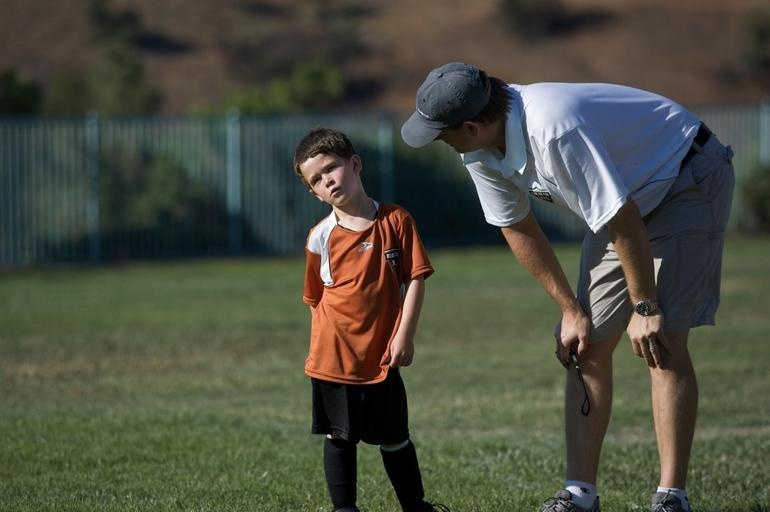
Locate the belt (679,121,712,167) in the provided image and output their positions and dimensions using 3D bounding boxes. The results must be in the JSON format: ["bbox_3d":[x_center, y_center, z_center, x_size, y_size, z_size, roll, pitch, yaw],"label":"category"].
[{"bbox_3d":[2.333,-0.827,11.192,0.059,0.235,0.165,-24,4,25],"label":"belt"}]

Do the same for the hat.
[{"bbox_3d":[0.397,-1.114,10.961,0.679,0.473,0.377,-40,-27,10],"label":"hat"}]
